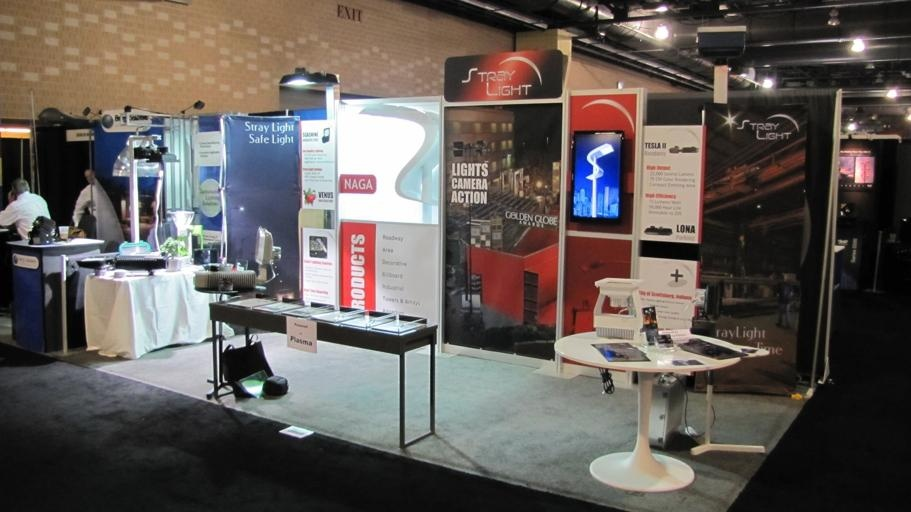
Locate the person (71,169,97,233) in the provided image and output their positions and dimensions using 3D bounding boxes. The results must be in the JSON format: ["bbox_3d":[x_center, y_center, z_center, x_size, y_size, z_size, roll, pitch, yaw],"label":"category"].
[{"bbox_3d":[-6.223,-1.006,10.986,0.336,0.964,0.765,-2,8,-30],"label":"person"}]

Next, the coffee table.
[{"bbox_3d":[2.083,1.660,6.993,2.046,1.133,1.835,-5,6,-42],"label":"coffee table"}]
